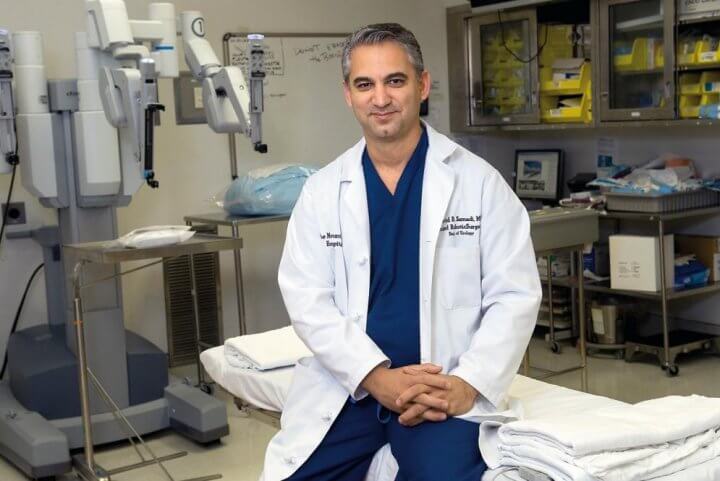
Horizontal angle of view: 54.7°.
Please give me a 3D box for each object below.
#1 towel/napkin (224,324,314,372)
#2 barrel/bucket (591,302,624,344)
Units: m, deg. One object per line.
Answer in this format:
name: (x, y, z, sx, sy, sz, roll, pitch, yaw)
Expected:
towel/napkin: (-0.417, 0.511, 3.311, 0.274, 0.087, 0.267, -11, 16, -33)
barrel/bucket: (1.824, 0.591, 5.112, 0.274, 0.380, 0.210, -3, -1, 22)
